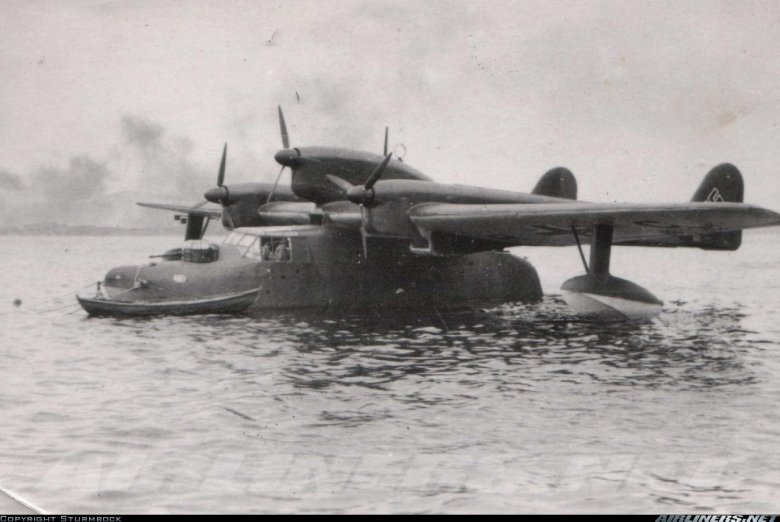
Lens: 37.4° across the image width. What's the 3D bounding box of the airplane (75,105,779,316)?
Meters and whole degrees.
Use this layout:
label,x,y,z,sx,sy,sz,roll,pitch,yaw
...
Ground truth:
label,x,y,z,sx,sy,sz,roll,pitch,yaw
airplane,0.493,-1.105,28.233,14.674,5.013,6.607,2,0,13
